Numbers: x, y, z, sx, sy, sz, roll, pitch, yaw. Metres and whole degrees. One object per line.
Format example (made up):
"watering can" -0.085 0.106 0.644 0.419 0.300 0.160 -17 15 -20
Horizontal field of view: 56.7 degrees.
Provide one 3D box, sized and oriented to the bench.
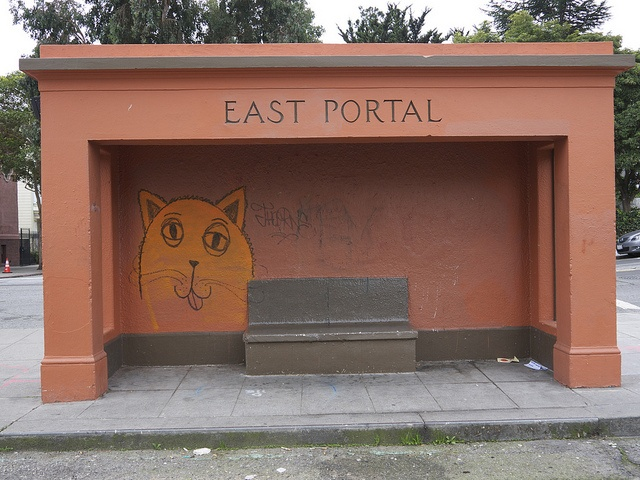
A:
"bench" 0.145 1.371 9.305 2.727 1.142 1.043 -2 13 -2
